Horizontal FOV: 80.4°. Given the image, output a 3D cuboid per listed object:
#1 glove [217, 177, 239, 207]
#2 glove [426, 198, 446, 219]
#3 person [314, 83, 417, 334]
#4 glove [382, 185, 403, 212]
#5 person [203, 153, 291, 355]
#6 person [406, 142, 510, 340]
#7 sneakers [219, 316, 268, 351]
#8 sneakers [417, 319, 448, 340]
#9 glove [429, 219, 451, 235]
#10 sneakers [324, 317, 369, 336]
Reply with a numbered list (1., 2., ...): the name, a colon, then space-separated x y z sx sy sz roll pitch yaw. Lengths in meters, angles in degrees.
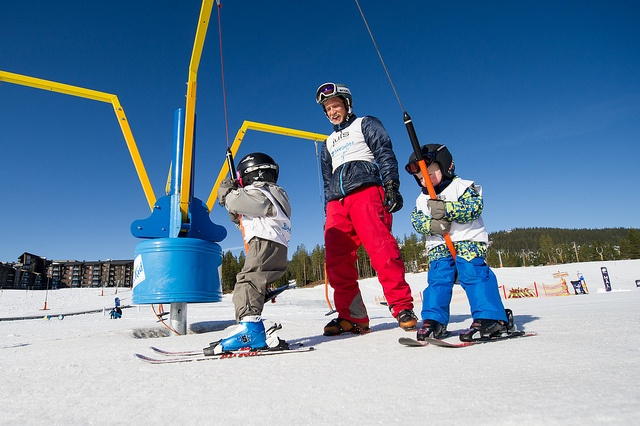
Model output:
1. glove: -0.826 -0.211 3.506 0.188 0.237 0.092 -10 -26 37
2. glove: 1.049 -0.047 3.395 0.126 0.169 0.091 -24 -21 22
3. person: 0.403 -0.139 4.003 0.990 2.697 0.661 -10 -13 21
4. glove: 0.688 -0.142 3.591 0.186 0.252 0.097 1 -8 -7
5. person: -0.627 0.273 3.389 0.758 1.798 0.469 -4 -12 -7
6. person: 1.168 0.162 3.386 0.732 1.800 0.609 -11 -13 24
7. sneakers: -0.589 0.972 3.035 0.432 0.260 0.181 6 -16 -26
8. sneakers: 0.928 0.965 3.120 0.129 0.143 0.313 -14 -27 42
9. glove: 1.065 0.126 3.382 0.159 0.148 0.124 7 -6 2
10. sneakers: 0.258 1.189 3.911 0.449 0.228 0.179 9 -23 -9
